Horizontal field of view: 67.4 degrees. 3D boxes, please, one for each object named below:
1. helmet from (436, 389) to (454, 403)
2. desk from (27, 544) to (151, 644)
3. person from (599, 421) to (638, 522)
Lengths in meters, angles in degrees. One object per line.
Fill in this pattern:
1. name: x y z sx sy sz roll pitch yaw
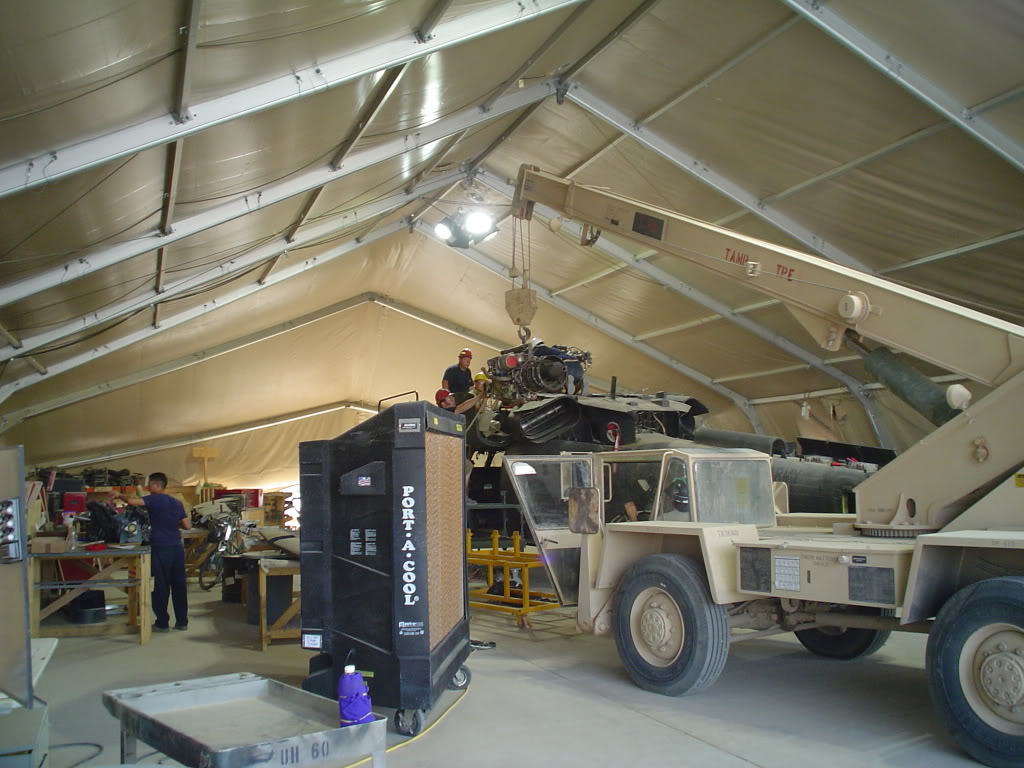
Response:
1. helmet: -1.241 0.221 14.154 0.271 0.274 0.613 -1 -4 -4
2. desk: -5.786 2.881 10.473 1.584 0.967 1.157 3 -15 -21
3. person: 1.323 1.145 9.529 0.689 1.045 0.319 -1 13 0
